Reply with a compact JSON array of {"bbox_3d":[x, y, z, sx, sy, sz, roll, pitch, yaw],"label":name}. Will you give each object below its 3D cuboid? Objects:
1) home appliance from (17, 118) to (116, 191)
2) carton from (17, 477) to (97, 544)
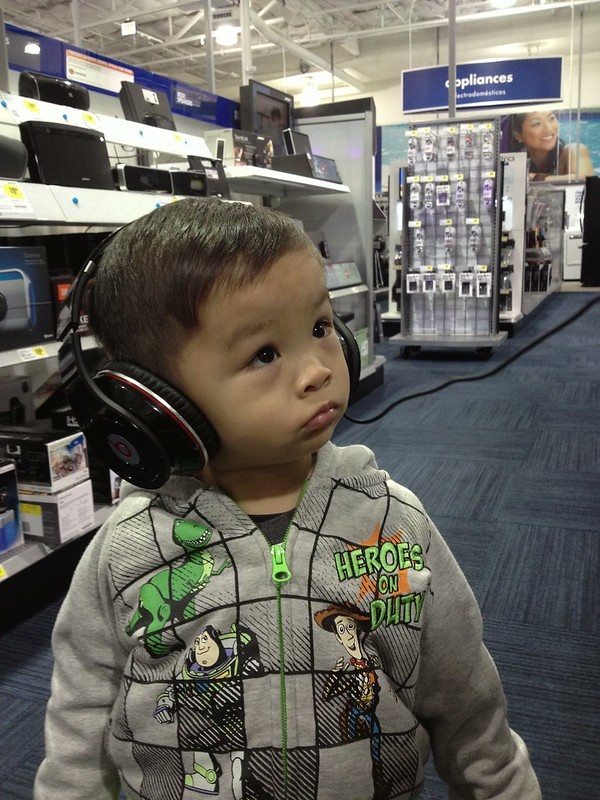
[{"bbox_3d":[-0.866,-0.909,2.190,0.124,0.218,0.322,7,16,31],"label":"home appliance"},{"bbox_3d":[-0.809,0.301,1.937,0.167,0.212,0.319,0,5,-6],"label":"carton"}]
